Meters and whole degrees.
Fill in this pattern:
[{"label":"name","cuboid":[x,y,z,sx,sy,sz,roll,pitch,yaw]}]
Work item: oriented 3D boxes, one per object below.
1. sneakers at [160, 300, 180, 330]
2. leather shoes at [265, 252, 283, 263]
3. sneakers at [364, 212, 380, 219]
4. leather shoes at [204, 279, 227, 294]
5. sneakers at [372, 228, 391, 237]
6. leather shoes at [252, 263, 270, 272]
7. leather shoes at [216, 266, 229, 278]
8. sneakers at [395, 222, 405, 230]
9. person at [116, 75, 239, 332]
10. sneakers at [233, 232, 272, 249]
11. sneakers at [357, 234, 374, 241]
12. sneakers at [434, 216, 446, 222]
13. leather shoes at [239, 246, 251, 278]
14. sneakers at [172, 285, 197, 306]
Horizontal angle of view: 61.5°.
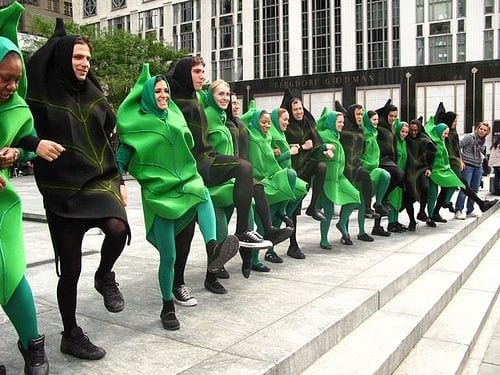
[{"label":"sneakers","cuboid":[-0.775,1.210,3.895,0.133,0.172,0.316,1,-7,-21]},{"label":"leather shoes","cuboid":[0.359,1.078,6.476,0.133,0.093,0.257,-1,-2,-42]},{"label":"sneakers","cuboid":[2.345,0.546,8.158,0.130,0.137,0.379,-4,-2,-38]},{"label":"leather shoes","cuboid":[-0.413,1.192,5.033,0.280,0.099,0.118,2,2,38]},{"label":"sneakers","cuboid":[2.631,0.905,8.480,0.300,0.114,0.178,-1,1,32]},{"label":"leather shoes","cuboid":[0.139,1.150,5.970,0.283,0.094,0.095,-1,-4,11]},{"label":"leather shoes","cuboid":[-0.375,1.141,5.598,0.151,0.144,0.365,-1,-12,-6]},{"label":"sneakers","cuboid":[3.198,0.842,8.949,0.169,0.180,0.271,2,8,28]},{"label":"person","cuboid":[-0.847,0.012,4.260,0.750,2.371,0.808,-10,11,-43]},{"label":"sneakers","cuboid":[0.044,0.620,4.896,0.498,0.173,0.175,0,-2,16]},{"label":"sneakers","cuboid":[2.196,0.961,8.036,0.131,0.092,0.258,-9,6,-41]},{"label":"sneakers","cuboid":[4.603,0.769,10.106,0.349,0.122,0.114,6,13,24]},{"label":"leather shoes","cuboid":[-0.049,0.972,5.416,0.151,0.422,0.188,2,6,-13]},{"label":"sneakers","cuboid":[-0.726,1.194,4.629,0.136,0.129,0.357,-2,0,-40]}]
